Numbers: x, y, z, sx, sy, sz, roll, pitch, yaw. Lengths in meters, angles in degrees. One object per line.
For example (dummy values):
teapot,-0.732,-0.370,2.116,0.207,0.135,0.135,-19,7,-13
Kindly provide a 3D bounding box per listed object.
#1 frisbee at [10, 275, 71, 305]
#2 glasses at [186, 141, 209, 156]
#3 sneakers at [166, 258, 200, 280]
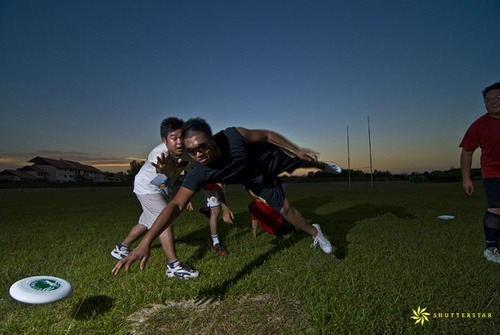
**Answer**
frisbee,-2.297,1.379,2.914,0.558,0.248,0.406,-1,0,5
glasses,-0.727,-0.265,3.678,0.336,0.231,0.151,-1,0,-7
sneakers,-1.118,1.660,4.257,0.638,0.286,0.223,2,-4,-2
